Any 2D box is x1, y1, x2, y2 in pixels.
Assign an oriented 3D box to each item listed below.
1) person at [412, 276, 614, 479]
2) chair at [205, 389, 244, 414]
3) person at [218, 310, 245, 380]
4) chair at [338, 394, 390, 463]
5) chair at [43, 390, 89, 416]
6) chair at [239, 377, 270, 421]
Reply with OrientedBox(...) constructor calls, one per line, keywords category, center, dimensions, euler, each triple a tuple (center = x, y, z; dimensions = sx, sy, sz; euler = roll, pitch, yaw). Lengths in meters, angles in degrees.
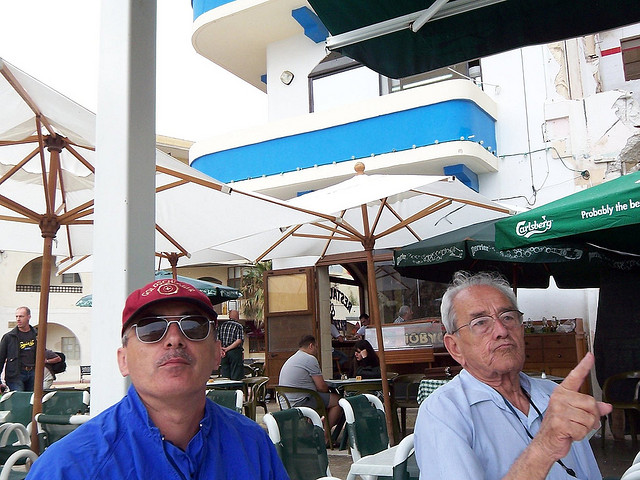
OrientedBox(category="person", center=(0.923, 0.717, 3.021), dimensions=(0.919, 1.170, 0.993), euler=(-8, -11, 13))
OrientedBox(category="chair", center=(-0.888, 1.527, 5.434), dimensions=(0.257, 0.194, 0.638), euler=(-2, -11, -18))
OrientedBox(category="person", center=(-2.086, 2.582, 13.390), dimensions=(0.726, 1.941, 0.648), euler=(4, 13, -2))
OrientedBox(category="chair", center=(0.355, 1.480, 4.598), dimensions=(0.222, 0.460, 0.679), euler=(-9, -11, 20))
OrientedBox(category="chair", center=(-2.695, 1.738, 6.072), dimensions=(0.375, 0.201, 0.510), euler=(2, -13, -6))
OrientedBox(category="chair", center=(-1.326, 2.995, 10.857), dimensions=(0.635, 0.720, 0.576), euler=(-8, 5, -9))
